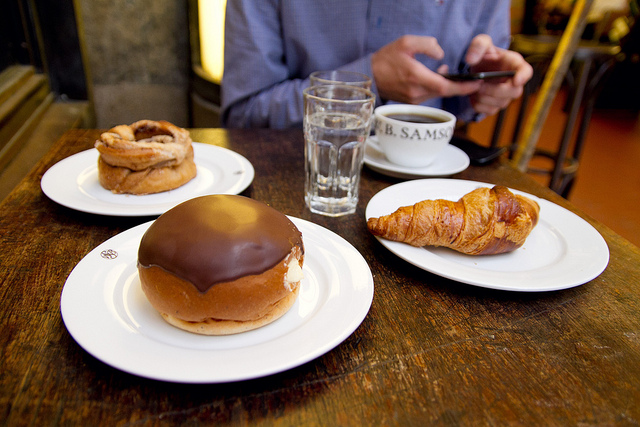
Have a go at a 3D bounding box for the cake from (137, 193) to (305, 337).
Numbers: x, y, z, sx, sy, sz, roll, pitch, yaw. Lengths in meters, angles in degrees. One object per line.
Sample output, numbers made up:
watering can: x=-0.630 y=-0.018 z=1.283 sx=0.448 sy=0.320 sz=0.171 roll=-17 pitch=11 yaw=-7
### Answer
cake: x=-0.163 y=0.092 z=0.850 sx=0.254 sy=0.148 sz=0.249 roll=-4 pitch=24 yaw=-20

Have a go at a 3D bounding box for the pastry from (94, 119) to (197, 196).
pastry: x=-0.425 y=-0.133 z=1.189 sx=0.196 sy=0.106 sz=0.213 roll=20 pitch=41 yaw=23

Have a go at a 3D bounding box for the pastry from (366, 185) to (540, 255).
pastry: x=0.280 y=0.020 z=1.008 sx=0.360 sy=0.093 sz=0.129 roll=-4 pitch=38 yaw=-6

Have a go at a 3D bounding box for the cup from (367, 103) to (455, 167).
cup: x=0.244 y=-0.221 z=1.340 sx=0.226 sy=0.102 sz=0.173 roll=7 pitch=26 yaw=17

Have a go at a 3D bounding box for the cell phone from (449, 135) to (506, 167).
cell phone: x=0.456 y=-0.197 z=1.464 sx=0.070 sy=0.044 sz=0.259 roll=-1 pitch=16 yaw=-17

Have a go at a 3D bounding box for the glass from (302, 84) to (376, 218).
glass: x=0.046 y=-0.162 z=1.156 sx=0.164 sy=0.244 sz=0.275 roll=-1 pitch=38 yaw=-2

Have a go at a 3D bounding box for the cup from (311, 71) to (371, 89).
cup: x=0.057 y=-0.358 z=1.317 sx=0.108 sy=0.079 sz=0.106 roll=0 pitch=17 yaw=0
